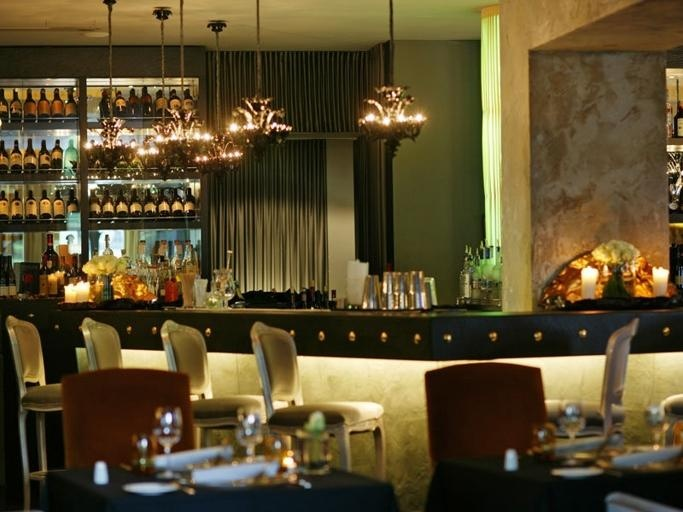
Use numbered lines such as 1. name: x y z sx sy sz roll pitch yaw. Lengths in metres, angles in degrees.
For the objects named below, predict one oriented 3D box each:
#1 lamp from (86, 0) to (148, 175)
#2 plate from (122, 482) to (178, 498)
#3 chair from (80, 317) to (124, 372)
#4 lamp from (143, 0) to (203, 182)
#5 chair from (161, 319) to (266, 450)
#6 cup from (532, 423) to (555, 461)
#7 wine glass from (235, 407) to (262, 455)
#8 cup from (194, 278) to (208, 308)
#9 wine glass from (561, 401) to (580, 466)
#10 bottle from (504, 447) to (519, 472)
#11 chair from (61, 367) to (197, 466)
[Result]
1. lamp: -2.154 -1.540 7.889 0.566 1.091 1.728 -2 1 -17
2. plate: -0.761 0.931 3.344 0.227 0.030 0.127 -1 1 19
3. chair: -1.624 0.610 5.662 0.188 0.249 0.384 -2 1 -39
4. lamp: -1.551 -1.500 7.652 0.603 1.630 2.041 -2 1 -11
5. chair: -0.740 0.840 5.723 0.698 1.218 0.663 -1 -2 18
6. cup: 0.884 0.818 3.629 0.120 0.199 0.099 9 -13 -39
7. wine glass: -0.395 0.748 3.572 0.112 0.181 0.215 -2 1 -8
8. cup: -1.120 0.287 6.631 0.104 0.224 0.338 -2 1 -10
9. wine glass: 1.031 0.782 3.757 0.123 0.225 0.071 1 -4 3
10. bottle: 0.733 0.886 3.611 0.067 0.115 0.078 -2 -3 39
11. chair: -1.101 0.768 4.269 0.485 0.754 0.565 2 -10 -21
